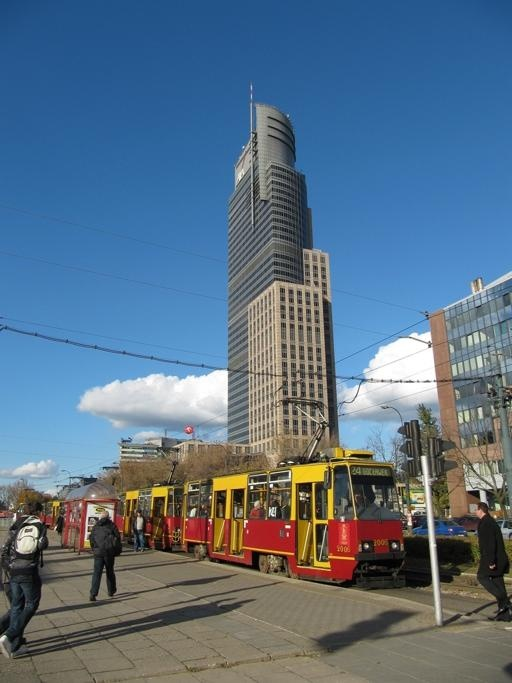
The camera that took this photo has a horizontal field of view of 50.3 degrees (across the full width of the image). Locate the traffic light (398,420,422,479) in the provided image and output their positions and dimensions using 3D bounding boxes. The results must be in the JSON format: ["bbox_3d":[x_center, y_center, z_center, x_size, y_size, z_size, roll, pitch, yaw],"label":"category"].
[{"bbox_3d":[2.448,1.709,8.563,0.349,0.871,1.254,-7,-15,13],"label":"traffic light"}]

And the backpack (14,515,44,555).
[{"bbox_3d":[-2.585,2.241,6.223,0.218,0.338,0.336,13,-51,-14],"label":"backpack"}]

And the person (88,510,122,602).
[{"bbox_3d":[-2.909,4.079,10.422,0.543,1.597,1.365,1,-15,-17],"label":"person"}]

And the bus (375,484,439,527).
[{"bbox_3d":[10.399,11.864,39.351,6.748,3.250,2.296,14,-22,-41],"label":"bus"}]

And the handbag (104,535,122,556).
[{"bbox_3d":[-2.621,3.708,9.903,0.343,0.457,0.245,10,-19,-42],"label":"handbag"}]
